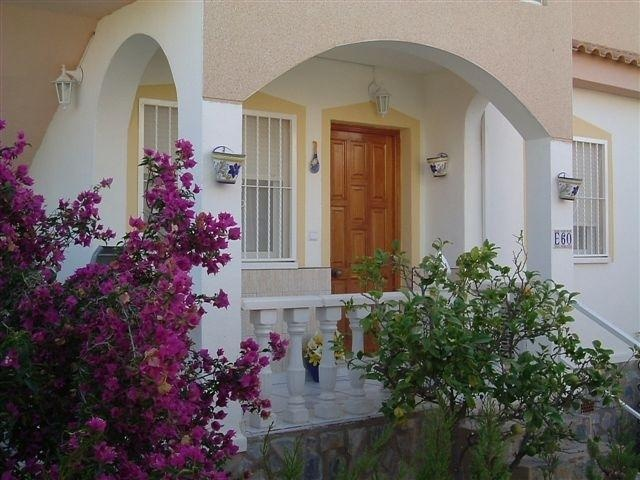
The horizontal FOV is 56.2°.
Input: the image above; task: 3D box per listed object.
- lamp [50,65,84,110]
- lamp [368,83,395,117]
[{"bbox_3d":[-2.695,-1.680,6.460,0.197,0.469,0.243,14,20,19],"label":"lamp"},{"bbox_3d":[0.831,-1.825,7.718,0.361,0.450,0.300,3,-3,-28],"label":"lamp"}]
